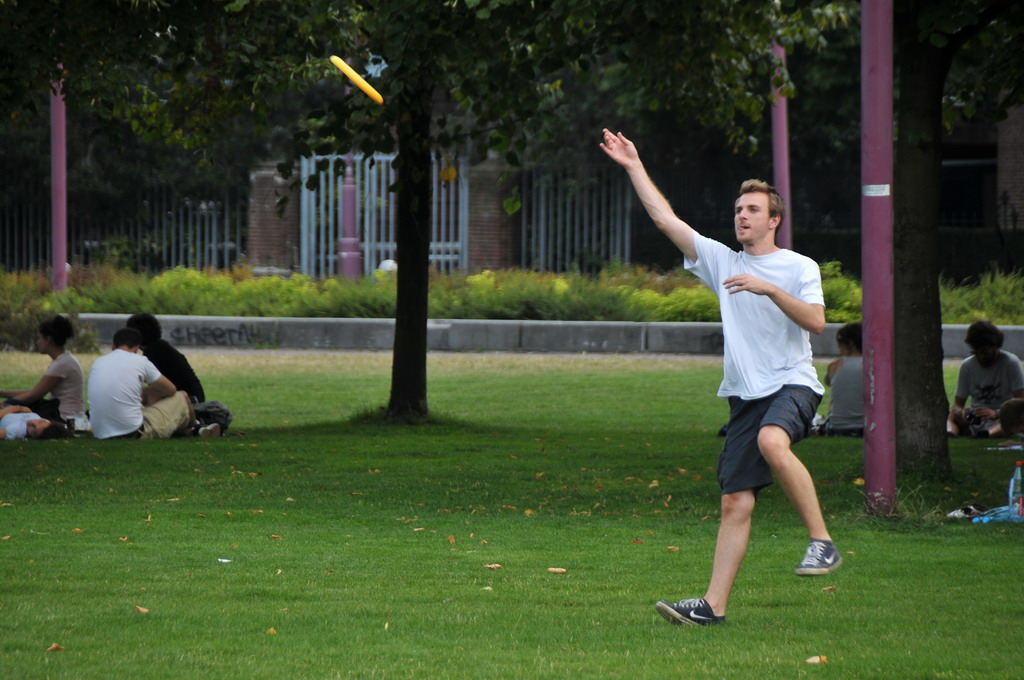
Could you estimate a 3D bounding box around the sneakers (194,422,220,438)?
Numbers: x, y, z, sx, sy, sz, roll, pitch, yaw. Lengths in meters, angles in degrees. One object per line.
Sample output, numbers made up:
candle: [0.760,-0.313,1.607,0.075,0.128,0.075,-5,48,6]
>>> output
sneakers: [-3.853,1.133,27.797,0.346,0.261,0.122,-2,2,0]

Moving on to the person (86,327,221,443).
person: [-4.580,0.547,27.442,1.436,1.349,0.496,-4,11,-28]
